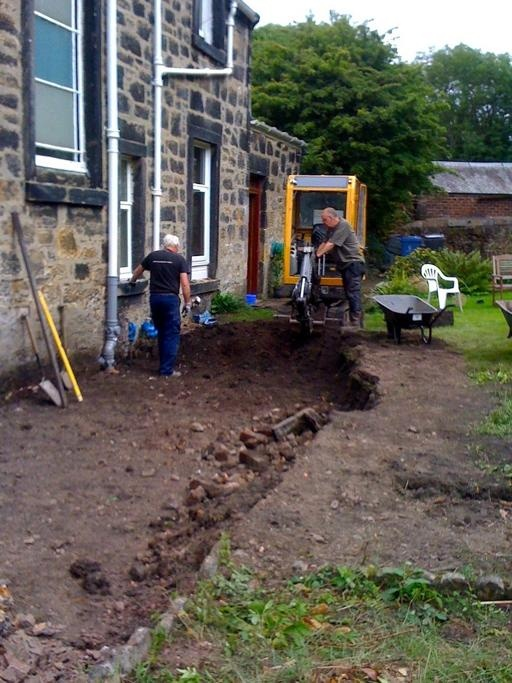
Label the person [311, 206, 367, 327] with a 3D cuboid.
[{"bbox_3d":[1.325,-1.123,8.949,0.736,1.863,0.343,-7,12,-21],"label":"person"}]

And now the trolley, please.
[{"bbox_3d":[2.082,-0.297,8.044,0.529,0.498,1.166,-1,20,-10],"label":"trolley"}]

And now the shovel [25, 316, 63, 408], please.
[{"bbox_3d":[-2.161,0.045,5.746,0.208,0.105,1.017,-13,28,-4],"label":"shovel"}]

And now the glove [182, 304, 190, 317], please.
[{"bbox_3d":[-0.915,-0.405,7.457,0.092,0.124,0.269,40,6,-9],"label":"glove"}]

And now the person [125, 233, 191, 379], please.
[{"bbox_3d":[-1.078,-0.416,6.782,0.608,1.639,0.377,-3,11,-2],"label":"person"}]

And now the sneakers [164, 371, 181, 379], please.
[{"bbox_3d":[-0.999,0.382,6.900,0.196,0.133,0.065,-11,51,-17],"label":"sneakers"}]

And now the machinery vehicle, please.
[{"bbox_3d":[1.134,-1.648,9.916,1.211,1.966,3.727,2,13,8],"label":"machinery vehicle"}]

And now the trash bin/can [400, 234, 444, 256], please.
[{"bbox_3d":[5.613,-3.273,19.467,1.335,0.636,1.377,-1,12,8],"label":"trash bin/can"}]
